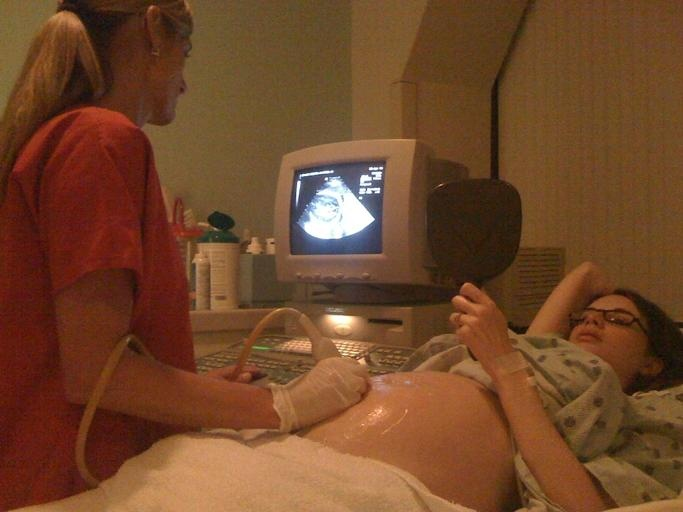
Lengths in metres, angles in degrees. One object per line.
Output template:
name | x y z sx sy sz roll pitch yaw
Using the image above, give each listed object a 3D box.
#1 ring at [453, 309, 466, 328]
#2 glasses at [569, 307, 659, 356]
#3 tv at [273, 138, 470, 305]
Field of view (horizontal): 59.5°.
ring | 0.276 0.144 1.372 0.014 0.028 0.037 -2 27 -10
glasses | 0.745 0.224 1.640 0.139 0.042 0.132 33 -19 -34
tv | 0.080 -0.071 2.256 0.740 0.540 0.759 3 -8 -6
